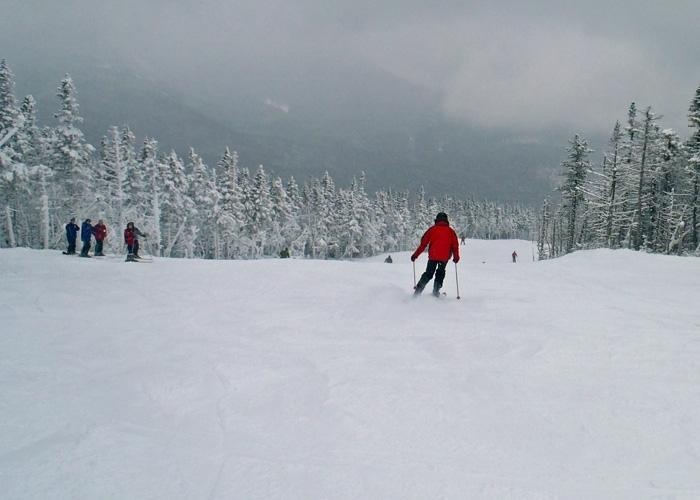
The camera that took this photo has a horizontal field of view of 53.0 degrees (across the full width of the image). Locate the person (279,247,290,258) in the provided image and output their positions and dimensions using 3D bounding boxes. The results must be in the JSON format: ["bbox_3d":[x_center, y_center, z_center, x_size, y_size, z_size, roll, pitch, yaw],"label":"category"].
[{"bbox_3d":[-5.151,0.258,55.873,0.581,0.409,1.354,12,42,18],"label":"person"}]

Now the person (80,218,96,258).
[{"bbox_3d":[-14.201,-0.636,37.757,0.584,1.964,0.909,2,4,3],"label":"person"}]
